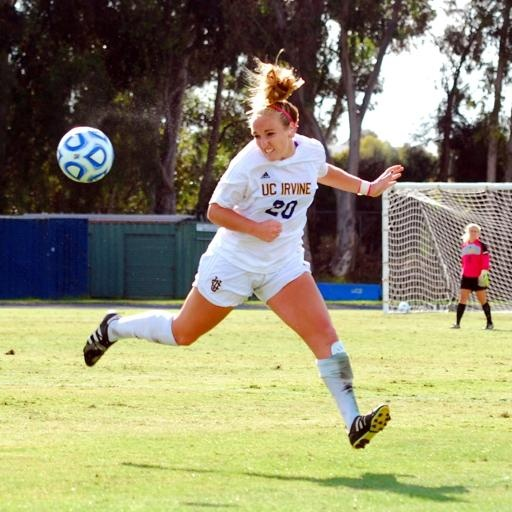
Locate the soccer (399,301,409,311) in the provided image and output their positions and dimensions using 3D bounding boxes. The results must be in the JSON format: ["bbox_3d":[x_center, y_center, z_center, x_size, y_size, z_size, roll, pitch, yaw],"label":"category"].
[{"bbox_3d":[2.929,1.000,18.397,0.190,0.214,0.188,15,10,-1],"label":"soccer"}]

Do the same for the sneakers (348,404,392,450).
[{"bbox_3d":[0.687,1.033,5.725,0.134,0.175,0.371,10,-49,-41],"label":"sneakers"}]

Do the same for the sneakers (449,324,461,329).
[{"bbox_3d":[3.028,1.079,14.101,0.151,0.058,0.051,3,2,-7],"label":"sneakers"}]

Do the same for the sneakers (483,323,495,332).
[{"bbox_3d":[3.526,1.077,14.028,0.069,0.084,0.205,2,-2,43],"label":"sneakers"}]

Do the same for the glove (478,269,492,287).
[{"bbox_3d":[3.462,0.355,14.146,0.170,0.275,0.315,-12,0,19],"label":"glove"}]
